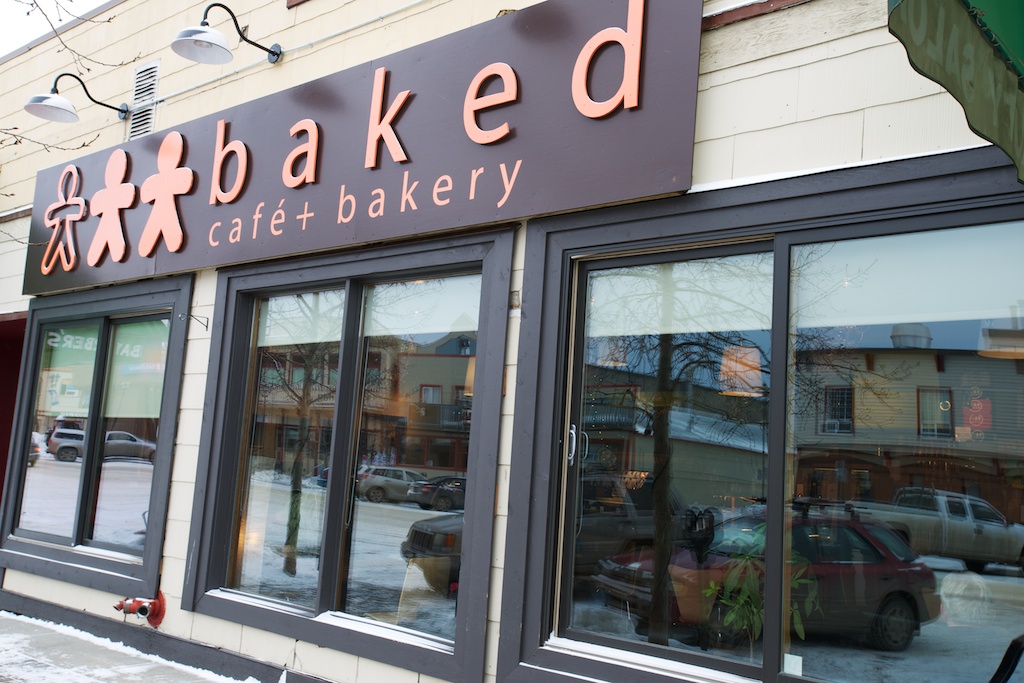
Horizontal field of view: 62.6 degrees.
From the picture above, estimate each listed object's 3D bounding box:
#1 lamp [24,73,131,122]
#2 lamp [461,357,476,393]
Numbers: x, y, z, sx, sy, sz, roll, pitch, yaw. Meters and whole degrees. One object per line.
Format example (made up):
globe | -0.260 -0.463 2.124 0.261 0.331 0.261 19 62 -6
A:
lamp | -3.773 -2.123 7.391 0.338 0.347 0.780 10 -1 38
lamp | -0.284 0.225 5.493 0.030 0.250 0.112 6 -9 -29
